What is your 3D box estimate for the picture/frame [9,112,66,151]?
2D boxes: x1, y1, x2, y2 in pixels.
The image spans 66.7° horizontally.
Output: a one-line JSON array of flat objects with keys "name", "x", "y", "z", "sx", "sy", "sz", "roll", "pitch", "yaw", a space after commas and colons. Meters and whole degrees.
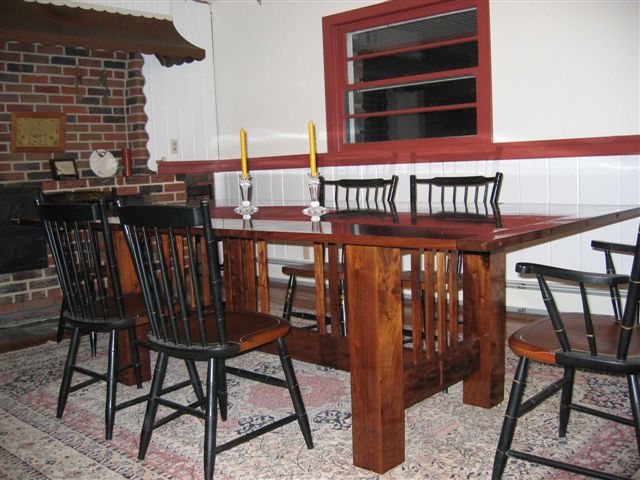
[{"name": "picture/frame", "x": -2.339, "y": -0.901, "z": 4.064, "sx": 0.031, "sy": 0.332, "sz": 0.470, "roll": 22, "pitch": 21, "yaw": 20}]

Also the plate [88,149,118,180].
[{"name": "plate", "x": -1.950, "y": -0.691, "z": 4.407, "sx": 0.328, "sy": 0.253, "sz": 0.078, "roll": -1, "pitch": -3, "yaw": -37}]

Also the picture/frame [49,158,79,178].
[{"name": "picture/frame", "x": -2.175, "y": -0.610, "z": 4.166, "sx": 0.234, "sy": 0.162, "sz": 0.062, "roll": -6, "pitch": 2, "yaw": -44}]

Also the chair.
[{"name": "chair", "x": 0.113, "y": 0.389, "z": 2.113, "sx": 1.816, "sy": 0.617, "sz": 0.961, "roll": 1, "pitch": 4, "yaw": 41}]
